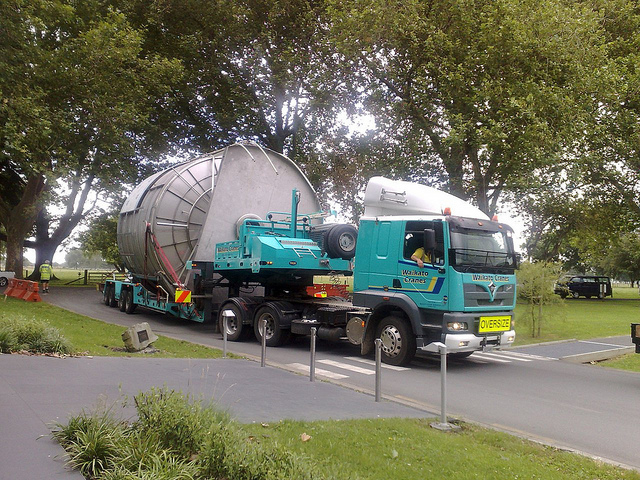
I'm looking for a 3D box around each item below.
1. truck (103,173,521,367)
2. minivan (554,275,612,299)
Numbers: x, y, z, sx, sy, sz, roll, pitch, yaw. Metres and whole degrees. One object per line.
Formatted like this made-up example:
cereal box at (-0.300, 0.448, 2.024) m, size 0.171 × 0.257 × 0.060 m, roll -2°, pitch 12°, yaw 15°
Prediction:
truck at (-1.323, 1.135, 16.693) m, size 4.751 × 5.712 × 15.819 m, roll 2°, pitch -2°, yaw -44°
minivan at (20.579, 3.656, 35.798) m, size 4.164 × 2.313 × 2.771 m, roll 2°, pitch -3°, yaw 33°
